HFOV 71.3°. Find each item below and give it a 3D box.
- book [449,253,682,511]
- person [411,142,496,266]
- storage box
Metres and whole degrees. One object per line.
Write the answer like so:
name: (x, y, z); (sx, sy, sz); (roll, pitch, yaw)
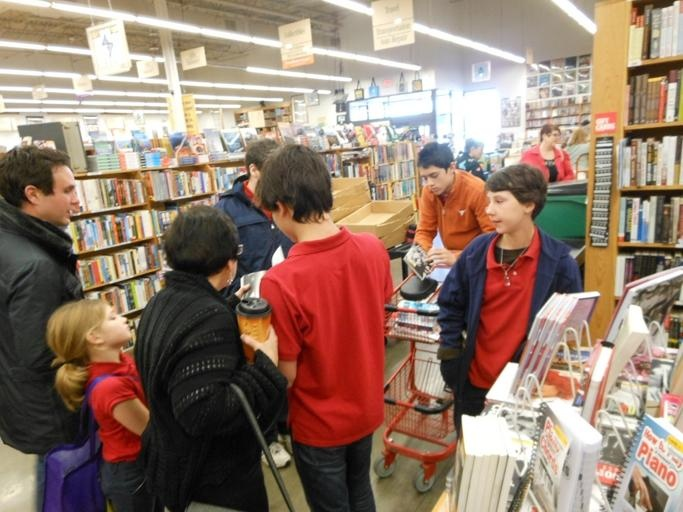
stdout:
book: (1.096, 0.369, 2.156); (0.847, 0.545, 0.561); (-16, 17, -39)
person: (0.861, -0.374, 3.635); (0.643, 0.974, 0.575); (9, 30, 40)
storage box: (0.339, -0.525, 5.457); (0.823, 0.374, 0.915); (11, 28, 24)
